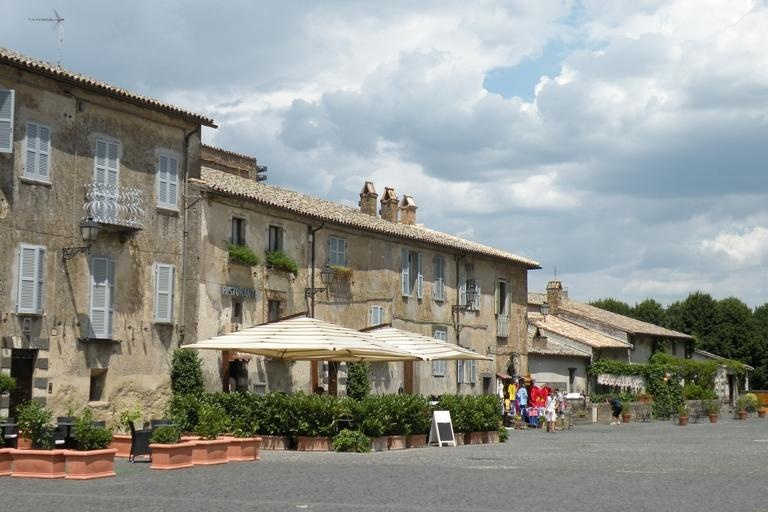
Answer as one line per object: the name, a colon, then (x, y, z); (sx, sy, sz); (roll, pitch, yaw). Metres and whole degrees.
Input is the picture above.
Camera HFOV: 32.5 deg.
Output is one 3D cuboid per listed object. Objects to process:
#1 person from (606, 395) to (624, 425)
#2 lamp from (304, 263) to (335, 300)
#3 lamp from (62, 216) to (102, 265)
person: (10.655, 7.161, 60.851); (0.623, 1.330, 1.948); (-4, -13, 9)
lamp: (-2.317, 0.999, 49.453); (1.310, 1.701, 0.893); (-5, -7, 23)
lamp: (-9.776, -0.618, 42.681); (1.086, 1.546, 1.453); (5, -14, -24)
